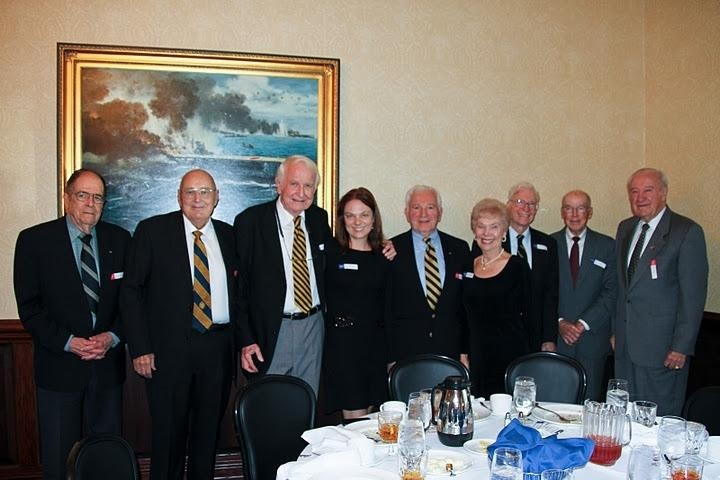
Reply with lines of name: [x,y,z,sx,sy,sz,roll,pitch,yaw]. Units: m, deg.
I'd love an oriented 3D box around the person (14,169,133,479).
person: [-2.269,0.668,4.995,0.851,2.447,0.395,-1,5,-26]

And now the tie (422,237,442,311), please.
tie: [0.590,0.288,5.279,0.138,0.591,0.199,-3,6,-41]

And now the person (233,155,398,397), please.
person: [-0.623,0.285,5.149,0.808,1.938,0.382,0,5,-13]

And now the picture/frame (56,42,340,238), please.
picture/frame: [-1.569,-0.894,5.616,1.839,1.336,0.074,1,-3,-12]

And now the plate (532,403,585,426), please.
plate: [1.326,1.170,4.203,0.193,0.027,0.195,3,6,38]

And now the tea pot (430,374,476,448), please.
tea pot: [0.555,1.082,4.009,0.376,0.506,0.337,-2,1,6]

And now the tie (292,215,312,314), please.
tie: [-0.481,0.196,5.110,0.156,0.780,0.203,-1,5,-26]

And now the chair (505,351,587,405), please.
chair: [1.411,1.092,4.950,0.394,0.686,0.481,-2,-12,7]
